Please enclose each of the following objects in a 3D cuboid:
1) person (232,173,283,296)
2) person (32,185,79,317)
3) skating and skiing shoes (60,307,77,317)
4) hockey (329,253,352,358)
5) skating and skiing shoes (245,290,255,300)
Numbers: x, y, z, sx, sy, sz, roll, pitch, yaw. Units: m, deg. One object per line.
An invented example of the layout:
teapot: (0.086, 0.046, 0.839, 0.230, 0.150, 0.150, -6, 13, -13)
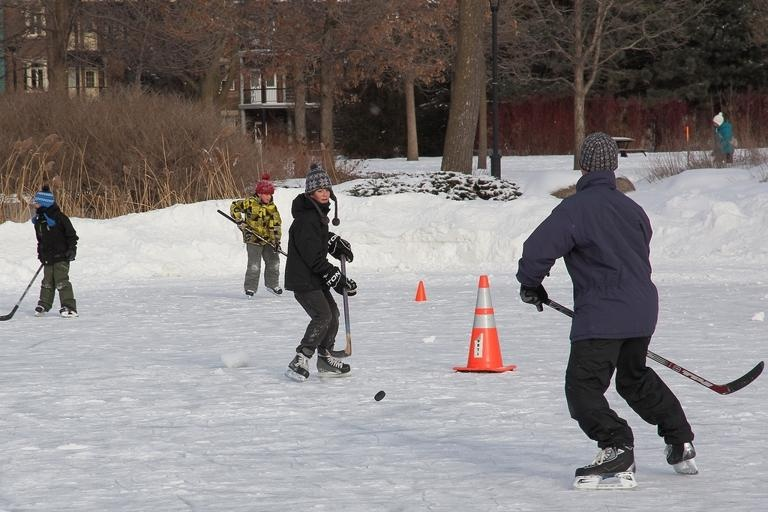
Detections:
person: (-2.384, -0.359, 20.866, 1.053, 2.175, 0.675, -1, 2, -24)
person: (-5.414, -0.067, 18.576, 0.743, 2.116, 0.846, -5, 14, -17)
skating and skiing shoes: (-5.149, 0.903, 18.511, 0.147, 0.101, 0.224, 4, -4, 10)
hockey: (-0.483, 0.719, 15.589, 0.337, 1.243, 0.312, 2, 0, -27)
skating and skiing shoes: (-2.415, 0.677, 20.395, 0.147, 0.147, 0.161, -2, -36, -1)
